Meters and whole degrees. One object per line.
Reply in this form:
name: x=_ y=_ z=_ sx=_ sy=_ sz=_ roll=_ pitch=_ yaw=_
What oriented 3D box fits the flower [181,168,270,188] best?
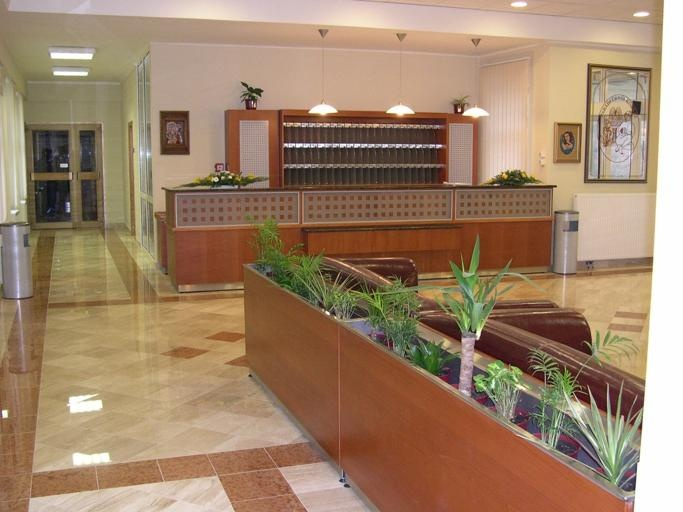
flower: x=-1.901 y=-1.255 z=8.175 sx=1.095 sy=0.258 sz=0.908 roll=-1 pitch=10 yaw=-8

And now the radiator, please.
radiator: x=5.578 y=-0.584 z=10.071 sx=1.949 sy=1.328 sz=0.187 roll=-2 pitch=3 yaw=-16

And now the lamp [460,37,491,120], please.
lamp: x=2.735 y=-3.490 z=9.976 sx=0.564 sy=1.452 sz=2.000 roll=3 pitch=10 yaw=15

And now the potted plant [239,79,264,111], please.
potted plant: x=-1.802 y=-3.171 z=9.812 sx=0.467 sy=0.576 sz=0.408 roll=-1 pitch=9 yaw=-9

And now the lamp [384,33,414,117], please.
lamp: x=1.132 y=-3.492 z=9.573 sx=0.831 sy=1.496 sz=0.847 roll=1 pitch=11 yaw=8

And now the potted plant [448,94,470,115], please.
potted plant: x=2.615 y=-3.284 z=10.939 sx=0.448 sy=0.459 sz=0.453 roll=2 pitch=2 yaw=21

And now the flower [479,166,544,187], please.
flower: x=3.133 y=-1.407 z=9.078 sx=0.898 sy=0.289 sz=0.280 roll=1 pitch=9 yaw=2
